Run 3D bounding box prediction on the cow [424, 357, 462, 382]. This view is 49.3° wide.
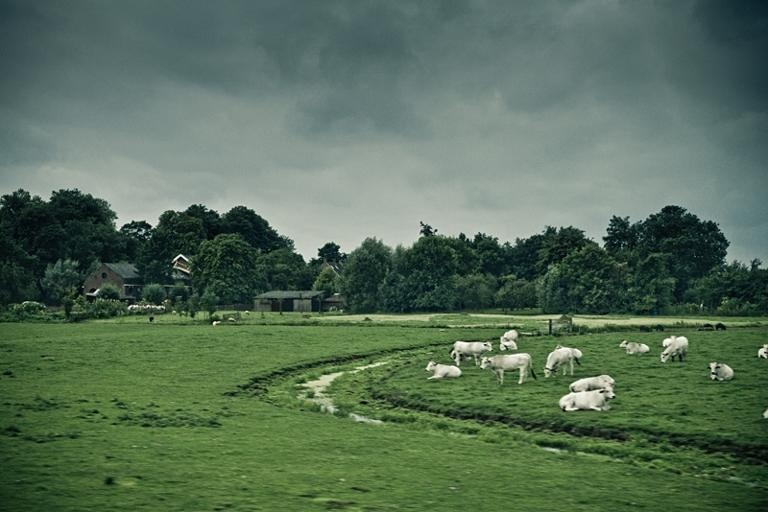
[{"bbox_3d":[4.298,8.355,61.267,2.622,1.011,1.819,6,13,19],"label":"cow"}]

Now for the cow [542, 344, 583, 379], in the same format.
[{"bbox_3d":[13.046,7.603,61.031,1.794,2.147,4.501,9,14,30],"label":"cow"}]

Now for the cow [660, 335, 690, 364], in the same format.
[{"bbox_3d":[22.316,7.115,64.260,1.762,1.945,3.689,7,13,24],"label":"cow"}]
